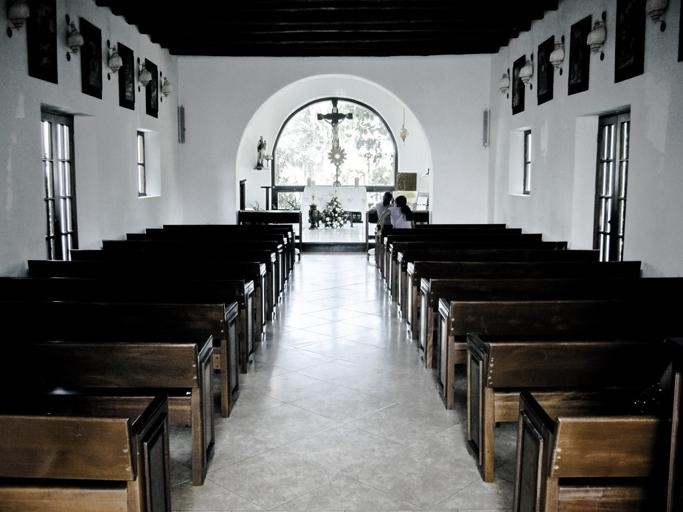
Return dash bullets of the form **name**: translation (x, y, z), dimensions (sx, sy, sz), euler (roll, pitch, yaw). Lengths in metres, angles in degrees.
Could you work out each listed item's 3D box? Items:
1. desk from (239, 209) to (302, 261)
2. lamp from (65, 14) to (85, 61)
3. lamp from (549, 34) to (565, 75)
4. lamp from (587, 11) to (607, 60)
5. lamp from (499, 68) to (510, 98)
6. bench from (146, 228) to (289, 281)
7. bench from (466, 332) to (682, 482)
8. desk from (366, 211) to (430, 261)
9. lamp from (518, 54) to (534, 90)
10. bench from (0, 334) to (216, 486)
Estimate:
- **desk**: translation (-1.482, -0.301, 12.011), dimensions (1.578, 1.351, 0.933), euler (0, -1, -8)
- **lamp**: translation (-3.102, -2.559, 6.559), dimensions (0.172, 0.533, 0.509), euler (-2, 4, -26)
- **lamp**: translation (2.873, -2.707, 7.480), dimensions (0.182, 0.510, 0.397), euler (2, 4, 21)
- **lamp**: translation (2.870, -2.497, 6.301), dimensions (0.188, 0.526, 0.363), euler (3, 5, 32)
- **lamp**: translation (2.872, -3.083, 9.901), dimensions (0.182, 0.572, 0.563), euler (1, 4, 10)
- **bench**: translation (-1.540, 0.137, 8.146), dimensions (2.249, 1.058, 0.763), euler (1, 8, 8)
- **bench**: translation (1.133, 0.728, 2.751), dimensions (0.833, 0.573, 0.321), euler (-1, 11, -2)
- **desk**: translation (1.162, -0.555, 12.277), dimensions (1.260, 1.315, 1.056), euler (-1, 1, -2)
- **lamp**: translation (2.878, -2.899, 8.787), dimensions (0.192, 0.554, 0.457), euler (1, 4, 9)
- **bench**: translation (-1.154, 0.750, 2.786), dimensions (0.725, 0.478, 0.269), euler (1, 12, 2)
